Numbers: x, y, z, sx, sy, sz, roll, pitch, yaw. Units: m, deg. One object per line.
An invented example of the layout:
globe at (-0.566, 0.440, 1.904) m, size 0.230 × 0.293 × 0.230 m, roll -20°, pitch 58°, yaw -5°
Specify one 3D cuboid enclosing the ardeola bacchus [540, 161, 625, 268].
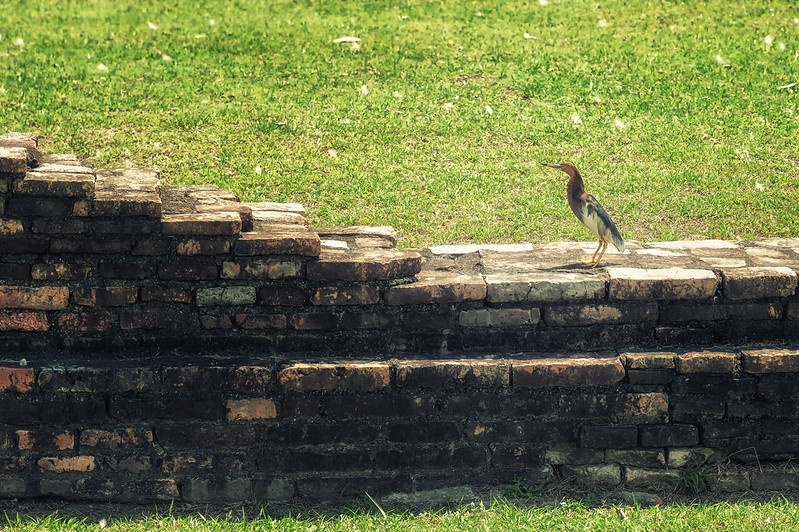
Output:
ardeola bacchus at (1.778, -0.501, 18.108) m, size 0.752 × 0.890 × 0.493 m, roll 25°, pitch 34°, yaw 37°
